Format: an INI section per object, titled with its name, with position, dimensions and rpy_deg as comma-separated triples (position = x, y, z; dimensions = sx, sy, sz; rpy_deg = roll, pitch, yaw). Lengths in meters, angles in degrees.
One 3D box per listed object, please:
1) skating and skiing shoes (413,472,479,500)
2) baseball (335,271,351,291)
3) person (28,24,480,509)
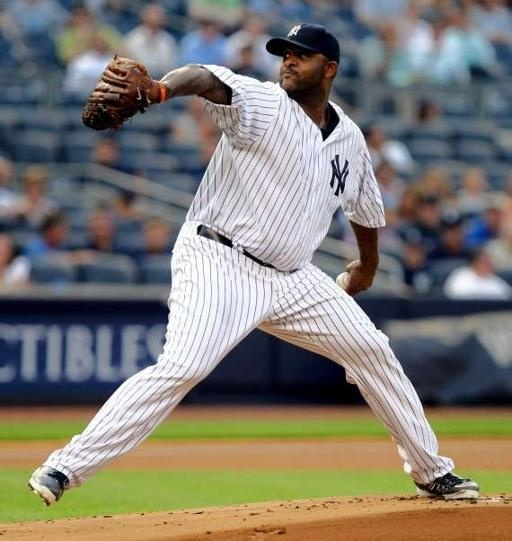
[skating and skiing shoes]
position = 0.818, 0.923, 3.988
dimensions = 0.300, 0.104, 0.103
rpy_deg = -5, -11, 25
[baseball]
position = 0.417, 0.045, 4.402
dimensions = 0.036, 0.076, 0.065
rpy_deg = 18, -9, -28
[person]
position = -0.022, -0.012, 3.719
dimensions = 1.645, 1.965, 0.607
rpy_deg = 3, -9, -40
